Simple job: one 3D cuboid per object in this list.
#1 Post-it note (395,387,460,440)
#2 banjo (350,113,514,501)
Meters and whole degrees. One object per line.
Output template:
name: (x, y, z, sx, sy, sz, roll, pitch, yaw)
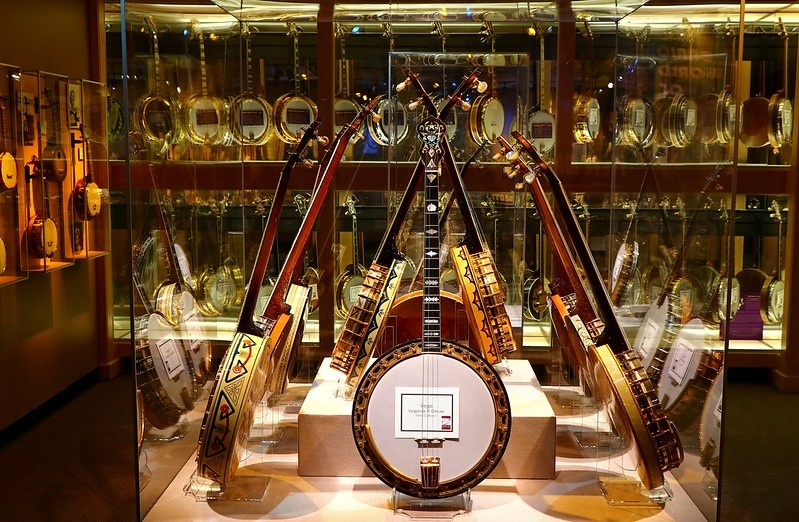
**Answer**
Post-it note: (0.180, 0.862, 3.844, 0.250, 0.218, 0.036, 0, 1, 3)
banjo: (0.210, 0.474, 4.281, 0.897, 0.271, 2.316, 0, 47, 1)
